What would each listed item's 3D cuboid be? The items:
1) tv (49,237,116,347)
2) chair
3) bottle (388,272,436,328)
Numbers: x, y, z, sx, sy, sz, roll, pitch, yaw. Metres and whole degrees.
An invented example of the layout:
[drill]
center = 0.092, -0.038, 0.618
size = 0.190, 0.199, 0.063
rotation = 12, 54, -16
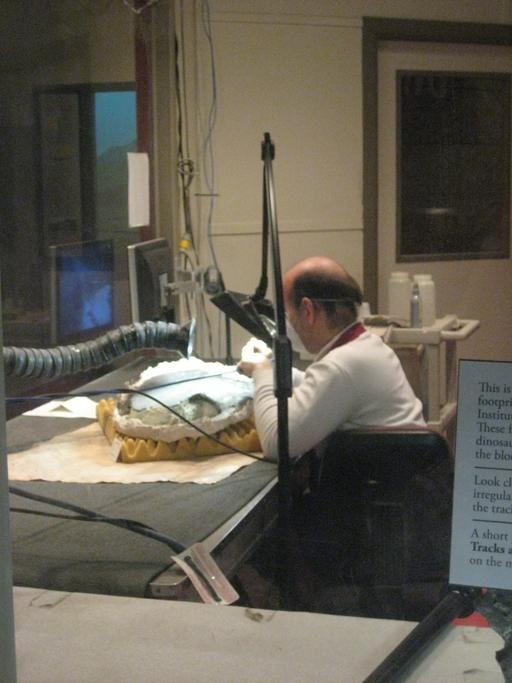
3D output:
[tv]
center = -0.183, -0.054, 0.728
size = 0.013, 0.122, 0.118
rotation = 4, 6, 32
[chair]
center = 0.129, 0.160, 0.630
size = 0.112, 0.170, 0.107
rotation = -3, -19, 28
[bottle]
center = 0.123, -0.035, 0.547
size = 0.040, 0.040, 0.025
rotation = 8, 15, 42
